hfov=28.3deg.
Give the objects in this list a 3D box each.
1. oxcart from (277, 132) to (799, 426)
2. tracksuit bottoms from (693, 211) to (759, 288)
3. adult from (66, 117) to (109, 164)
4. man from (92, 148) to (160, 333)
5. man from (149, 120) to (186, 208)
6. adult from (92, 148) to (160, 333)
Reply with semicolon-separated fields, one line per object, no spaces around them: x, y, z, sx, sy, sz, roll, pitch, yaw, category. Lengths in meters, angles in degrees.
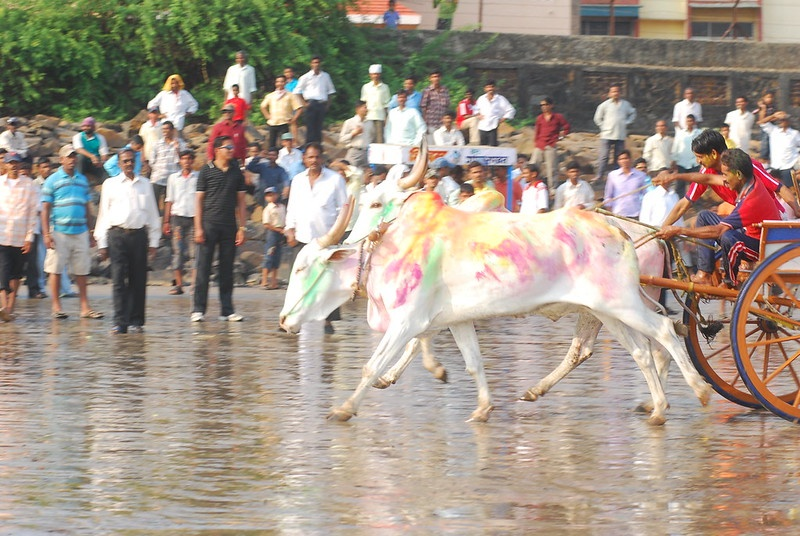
-0.058;0.221;19.316;7.422;3.317;2.118;1;-1;8;oxcart
3.497;-0.198;17.621;0.699;0.705;0.671;-8;13;-44;tracksuit bottoms
-5.369;-2.140;27.393;0.699;0.782;0.938;-8;5;-7;adult
-3.791;-0.352;22.022;0.871;2.454;1.057;-3;15;-9;man
-3.945;-1.634;26.805;0.721;1.381;0.441;4;-3;25;man
-3.791;-0.352;22.022;0.871;2.454;1.057;-3;15;-9;adult
